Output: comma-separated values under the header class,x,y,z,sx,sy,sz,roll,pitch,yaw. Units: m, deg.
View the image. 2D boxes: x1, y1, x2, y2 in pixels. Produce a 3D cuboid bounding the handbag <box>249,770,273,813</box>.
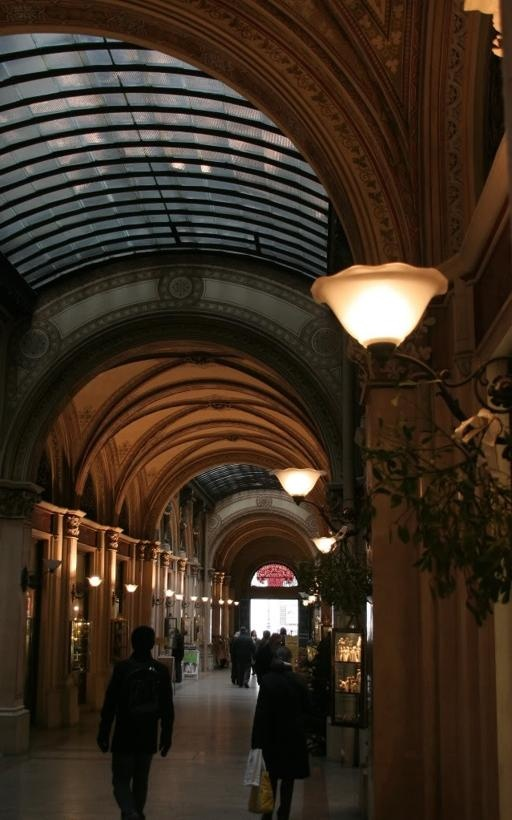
class,x,y,z,sx,sy,sz,roll,pitch,yaw
handbag,0.048,3.200,5.501,0.198,0.358,0.181,0,-15,-4
